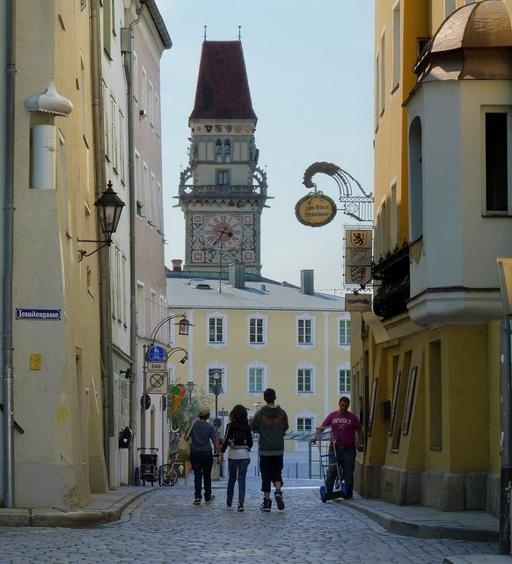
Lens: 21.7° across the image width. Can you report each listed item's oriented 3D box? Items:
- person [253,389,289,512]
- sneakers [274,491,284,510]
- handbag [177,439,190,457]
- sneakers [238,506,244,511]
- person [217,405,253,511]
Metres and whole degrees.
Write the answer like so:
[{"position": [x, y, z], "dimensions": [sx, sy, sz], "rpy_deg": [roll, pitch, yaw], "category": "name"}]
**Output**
[{"position": [0.203, 2.517, 19.527], "dimensions": [0.524, 1.820, 0.657], "rpy_deg": [0, -9, 1], "category": "person"}, {"position": [0.352, 3.283, 19.264], "dimensions": [0.088, 0.344, 0.128], "rpy_deg": [-9, 12, 8], "category": "sneakers"}, {"position": [-1.090, 2.607, 20.327], "dimensions": [0.185, 0.305, 0.390], "rpy_deg": [0, -10, -4], "category": "handbag"}, {"position": [-0.214, 3.345, 19.314], "dimensions": [0.062, 0.068, 0.135], "rpy_deg": [1, -7, -4], "category": "sneakers"}, {"position": [-0.278, 2.687, 19.762], "dimensions": [0.459, 1.585, 1.250], "rpy_deg": [0, -10, -2], "category": "person"}]
